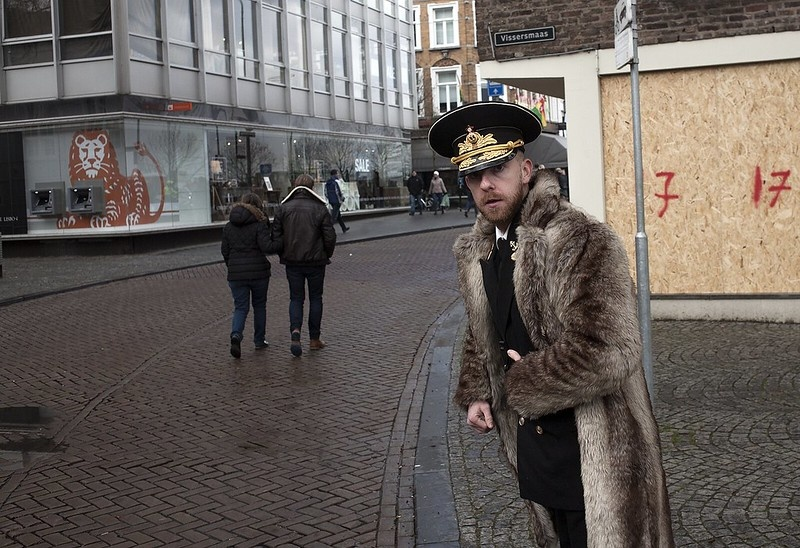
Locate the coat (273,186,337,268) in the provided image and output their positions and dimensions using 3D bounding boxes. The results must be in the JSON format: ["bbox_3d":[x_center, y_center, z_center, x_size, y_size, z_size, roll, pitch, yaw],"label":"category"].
[{"bbox_3d":[-1.374,-0.670,10.375,0.840,1.112,0.444,-4,8,-10],"label":"coat"}]

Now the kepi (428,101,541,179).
[{"bbox_3d":[0.458,-0.623,3.539,0.533,0.254,0.572,-4,-1,-39],"label":"kepi"}]

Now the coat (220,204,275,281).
[{"bbox_3d":[-2.139,-0.451,10.313,0.765,1.099,0.361,-4,8,-8],"label":"coat"}]
